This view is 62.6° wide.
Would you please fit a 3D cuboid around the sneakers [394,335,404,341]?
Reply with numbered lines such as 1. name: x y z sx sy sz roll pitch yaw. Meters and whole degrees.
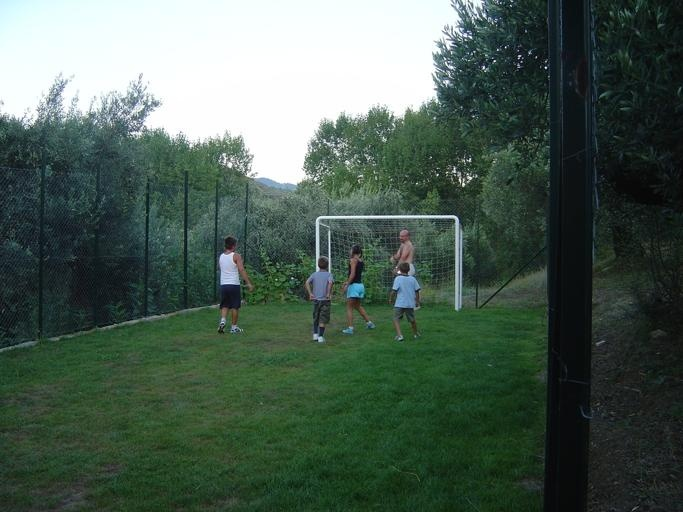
1. sneakers: 1.065 1.552 10.392 0.072 0.082 0.179 0 -13 -15

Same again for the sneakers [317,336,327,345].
1. sneakers: -0.385 1.563 10.287 0.111 0.105 0.091 -2 -1 30

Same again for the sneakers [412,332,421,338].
1. sneakers: 1.415 1.525 10.625 0.075 0.070 0.191 -7 -4 -4

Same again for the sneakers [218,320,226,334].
1. sneakers: -2.370 1.437 10.915 0.104 0.330 0.143 10 24 -1

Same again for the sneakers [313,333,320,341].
1. sneakers: -0.486 1.527 10.466 0.094 0.123 0.278 -1 -13 -4

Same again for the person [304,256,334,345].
1. person: -0.442 0.798 10.755 0.465 1.672 1.263 -1 8 -3

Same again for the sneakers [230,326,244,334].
1. sneakers: -2.108 1.467 11.187 0.268 0.195 0.104 -7 11 -40

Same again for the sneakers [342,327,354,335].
1. sneakers: 0.115 1.514 11.216 0.215 0.167 0.113 6 -4 11
